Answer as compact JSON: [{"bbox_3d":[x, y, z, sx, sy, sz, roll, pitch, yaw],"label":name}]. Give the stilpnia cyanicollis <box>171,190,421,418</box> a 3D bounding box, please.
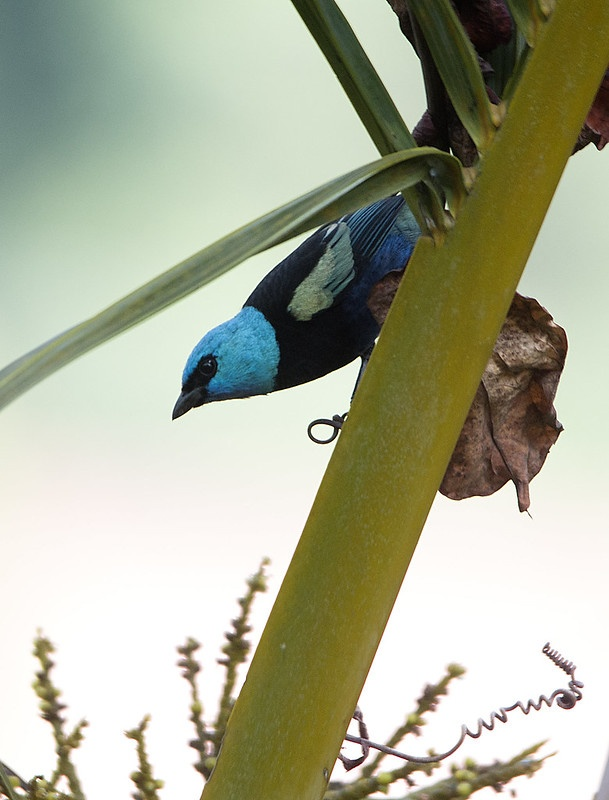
[{"bbox_3d":[-0.009,-0.060,0.907,0.077,0.111,0.230,26,-32,-21],"label":"stilpnia cyanicollis"}]
